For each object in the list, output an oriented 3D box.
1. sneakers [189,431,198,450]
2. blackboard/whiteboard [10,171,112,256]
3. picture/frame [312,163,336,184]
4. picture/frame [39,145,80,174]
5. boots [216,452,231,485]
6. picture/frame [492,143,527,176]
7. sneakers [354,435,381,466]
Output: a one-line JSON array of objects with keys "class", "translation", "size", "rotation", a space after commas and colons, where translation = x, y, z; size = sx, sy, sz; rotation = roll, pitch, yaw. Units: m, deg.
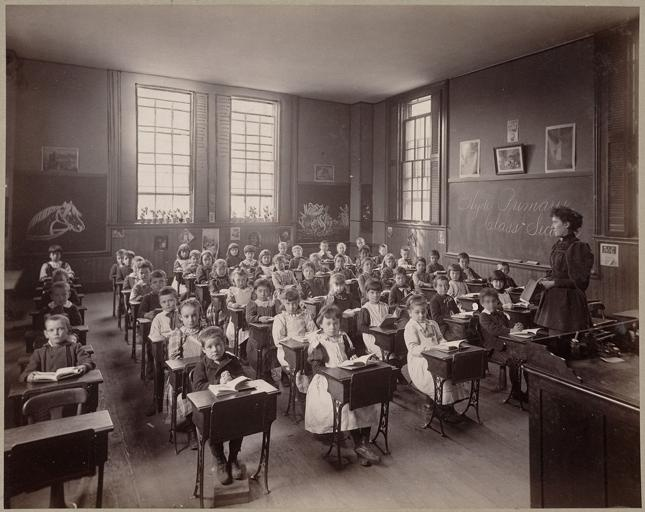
[{"class": "sneakers", "translation": [-1.256, 1.785, 4.824], "size": [0.103, 0.141, 0.322], "rotation": [1, -10, -9]}, {"class": "blackboard/whiteboard", "translation": [-5.385, -0.853, 10.023], "size": [1.665, 1.786, 0.177], "rotation": [0, -1, -32]}, {"class": "picture/frame", "translation": [-0.003, -2.240, 13.374], "size": [0.561, 0.444, 0.038], "rotation": [-2, 3, -40]}, {"class": "picture/frame", "translation": [-5.380, -1.954, 10.036], "size": [0.586, 0.518, 0.080], "rotation": [-3, 8, -38]}, {"class": "boots", "translation": [-0.874, 1.819, 4.296], "size": [0.096, 0.120, 0.292], "rotation": [-6, 22, -15]}, {"class": "picture/frame", "translation": [3.605, -1.839, 9.482], "size": [0.069, 0.584, 0.640], "rotation": [-2, 6, -26]}, {"class": "sneakers", "translation": [0.402, 1.816, 4.622], "size": [0.119, 0.147, 0.351], "rotation": [2, -9, -27]}]
